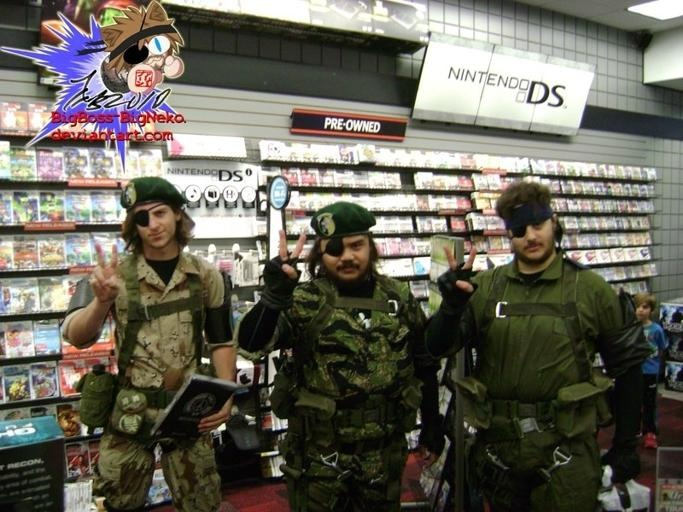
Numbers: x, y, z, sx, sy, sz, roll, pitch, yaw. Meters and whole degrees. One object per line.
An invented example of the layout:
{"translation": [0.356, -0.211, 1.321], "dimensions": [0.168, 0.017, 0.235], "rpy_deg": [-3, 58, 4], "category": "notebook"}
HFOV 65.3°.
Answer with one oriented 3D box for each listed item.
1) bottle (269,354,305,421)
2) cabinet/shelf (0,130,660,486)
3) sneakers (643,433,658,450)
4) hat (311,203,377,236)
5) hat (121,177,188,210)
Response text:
{"translation": [-0.321, 0.685, 2.867], "dimensions": [0.143, 0.359, 0.283], "rpy_deg": [-1, 4, -18], "category": "bottle"}
{"translation": [0.651, -0.076, 6.159], "dimensions": [7.832, 2.319, 0.704], "rpy_deg": [-2, 4, -25], "category": "cabinet/shelf"}
{"translation": [2.944, 1.784, 5.143], "dimensions": [0.131, 0.139, 0.317], "rpy_deg": [-5, -17, 18], "category": "sneakers"}
{"translation": [-0.006, -0.204, 2.991], "dimensions": [0.320, 0.144, 0.364], "rpy_deg": [1, -4, 3], "category": "hat"}
{"translation": [-1.044, -0.324, 2.917], "dimensions": [0.213, 0.108, 0.235], "rpy_deg": [-5, 0, 21], "category": "hat"}
